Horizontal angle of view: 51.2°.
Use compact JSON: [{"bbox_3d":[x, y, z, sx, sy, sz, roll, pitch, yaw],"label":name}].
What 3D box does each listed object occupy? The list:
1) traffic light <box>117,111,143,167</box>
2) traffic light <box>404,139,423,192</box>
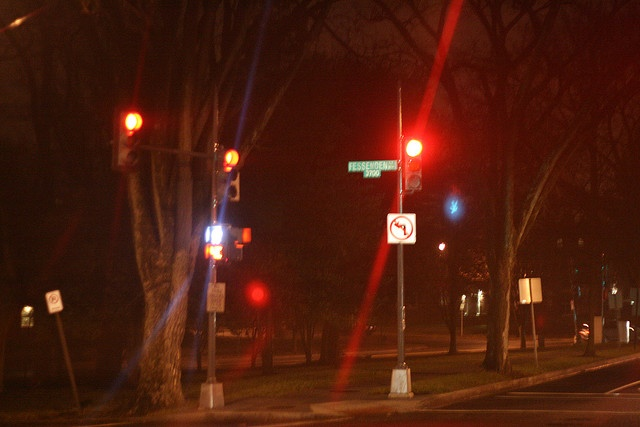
[{"bbox_3d":[-5.636,-2.174,19.736,0.702,1.600,0.539,4,-16,-6],"label":"traffic light"},{"bbox_3d":[3.414,-1.783,24.399,0.667,1.814,0.737,0,-17,7],"label":"traffic light"}]
